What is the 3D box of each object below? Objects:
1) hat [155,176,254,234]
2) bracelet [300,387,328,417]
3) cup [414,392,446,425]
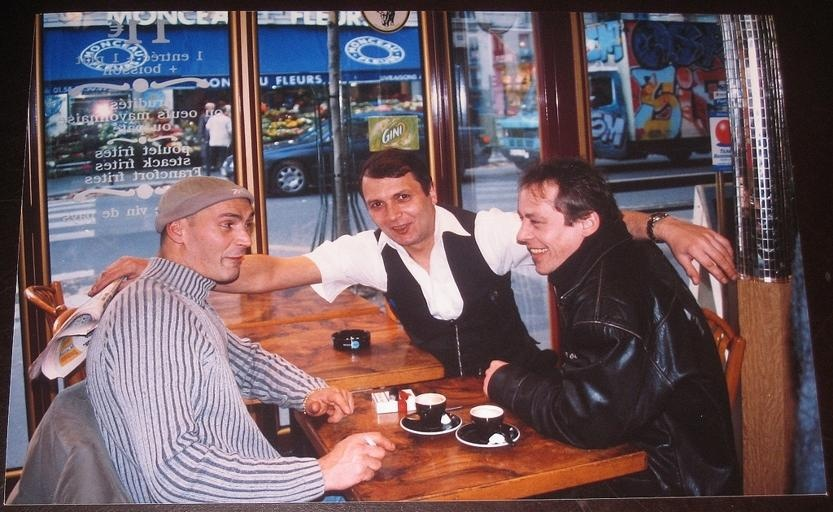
[{"bbox_3d":[-0.934,-0.224,2.811,0.316,0.151,0.270,-1,6,-3],"label":"hat"},{"bbox_3d":[-0.436,0.613,2.780,0.101,0.117,0.047,25,-3,11],"label":"bracelet"},{"bbox_3d":[0.051,0.603,2.592,0.114,0.084,0.115,-1,-2,0],"label":"cup"}]
